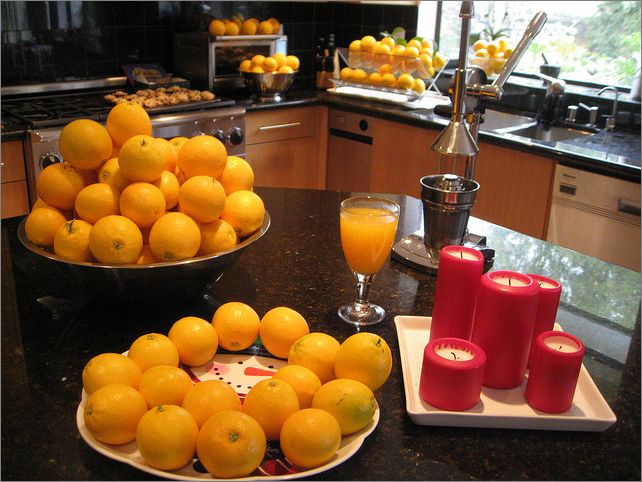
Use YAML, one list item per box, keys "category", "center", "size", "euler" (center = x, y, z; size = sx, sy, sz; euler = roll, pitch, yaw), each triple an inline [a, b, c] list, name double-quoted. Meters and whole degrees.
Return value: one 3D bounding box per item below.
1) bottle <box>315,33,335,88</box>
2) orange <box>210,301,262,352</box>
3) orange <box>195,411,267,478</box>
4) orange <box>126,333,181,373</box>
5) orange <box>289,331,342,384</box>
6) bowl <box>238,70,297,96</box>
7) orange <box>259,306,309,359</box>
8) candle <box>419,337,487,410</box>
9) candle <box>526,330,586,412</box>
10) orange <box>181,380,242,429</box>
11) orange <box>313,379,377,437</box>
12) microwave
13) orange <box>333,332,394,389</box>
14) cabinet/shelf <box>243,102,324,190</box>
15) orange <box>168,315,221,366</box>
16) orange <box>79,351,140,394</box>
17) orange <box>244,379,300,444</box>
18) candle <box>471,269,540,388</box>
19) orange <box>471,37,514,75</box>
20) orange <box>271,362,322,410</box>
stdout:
- category: "bottle"
  center: [0.037, -1.267, 3.404]
  size: [0.119, 0.347, 0.111]
  euler: [1, 20, 0]
- category: "orange"
  center: [-0.141, 0.151, 0.840]
  size: [0.073, 0.074, 0.083]
  euler: [10, 35, -25]
- category: "orange"
  center: [-0.109, 0.242, 0.567]
  size: [0.076, 0.057, 0.073]
  euler: [-7, 57, -3]
- category: "orange"
  center: [-0.256, 0.184, 0.729]
  size: [0.068, 0.064, 0.065]
  euler: [9, -22, -40]
- category: "orange"
  center: [-0.020, 0.181, 0.762]
  size: [0.078, 0.069, 0.068]
  euler: [21, 23, -23]
- category: "bowl"
  center: [-0.339, -1.004, 3.084]
  size: [0.326, 0.173, 0.168]
  euler: [-1, 25, -11]
- category: "orange"
  center: [-0.066, 0.152, 0.802]
  size: [0.072, 0.084, 0.074]
  euler: [-1, -9, 17]
- category: "candle"
  center: [0.199, 0.196, 0.723]
  size: [0.092, 0.073, 0.090]
  euler: [-11, 22, -27]
- category: "candle"
  center: [0.349, 0.198, 0.716]
  size: [0.064, 0.101, 0.068]
  euler: [5, 19, 16]
- category: "orange"
  center: [-0.150, 0.226, 0.655]
  size: [0.071, 0.073, 0.072]
  euler: [1, -18, -33]
- category: "orange"
  center: [0.035, 0.222, 0.684]
  size: [0.090, 0.075, 0.072]
  euler: [0, -16, -24]
- category: "microwave"
  center: [-0.559, -1.265, 3.292]
  size: [0.659, 0.347, 0.475]
  euler: [-22, 38, -38]
- category: "orange"
  center: [0.068, 0.184, 0.731]
  size: [0.084, 0.094, 0.085]
  euler: [4, 4, 2]
- category: "cabinet/shelf"
  center: [-0.369, -0.615, 3.313]
  size: [0.596, 0.561, 0.393]
  euler: [-15, 31, -34]
- category: "orange"
  center: [-0.201, 0.163, 0.773]
  size: [0.073, 0.080, 0.071]
  euler: [0, 22, -6]
- category: "orange"
  center: [-0.291, 0.182, 0.666]
  size: [0.073, 0.059, 0.061]
  euler: [5, 49, -25]
- category: "orange"
  center: [-0.068, 0.222, 0.647]
  size: [0.069, 0.066, 0.069]
  euler: [5, 12, -6]
- category: "candle"
  center: [0.294, 0.145, 0.772]
  size: [0.095, 0.171, 0.096]
  euler: [15, 22, 42]
- category: "orange"
  center: [1.012, -1.101, 2.872]
  size: [0.217, 0.205, 0.295]
  euler: [11, 26, 14]
- category: "orange"
  center: [-0.027, 0.192, 0.682]
  size: [0.055, 0.067, 0.058]
  euler: [7, 9, 44]
